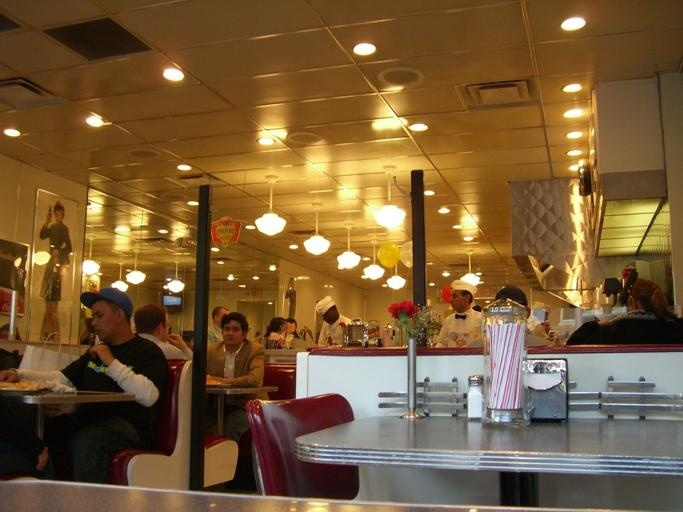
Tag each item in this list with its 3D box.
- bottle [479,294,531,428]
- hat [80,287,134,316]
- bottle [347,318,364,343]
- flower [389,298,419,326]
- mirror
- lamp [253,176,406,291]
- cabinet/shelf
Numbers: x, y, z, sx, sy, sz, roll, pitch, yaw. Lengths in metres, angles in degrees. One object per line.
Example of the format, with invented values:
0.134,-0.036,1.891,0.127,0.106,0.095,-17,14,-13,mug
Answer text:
0.639,0.407,2.333,0.175,0.477,0.192,0,-8,0,bottle
-1.616,0.285,4.117,0.295,0.162,0.205,30,-17,-10,hat
0.133,0.737,5.808,0.190,0.263,0.143,-2,-21,12,bottle
0.340,0.310,3.333,0.141,0.124,0.143,-5,-5,27,flower
-3.364,-0.199,11.527,3.137,0.773,2.852,0,-28,7,mirror
-0.295,-0.442,11.257,2.900,1.058,0.520,30,-42,-34,lamp
2.799,-0.914,5.832,0.524,1.598,1.476,0,10,20,cabinet/shelf
